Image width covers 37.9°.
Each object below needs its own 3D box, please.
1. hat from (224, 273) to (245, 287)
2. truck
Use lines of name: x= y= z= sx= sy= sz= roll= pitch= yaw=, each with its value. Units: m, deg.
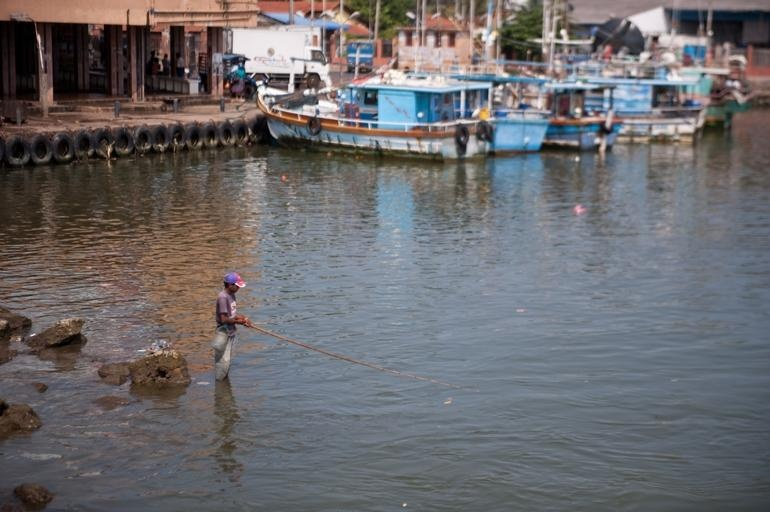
hat: x=-3.453 y=0.551 z=25.904 sx=0.430 sy=0.322 sz=0.383 roll=2 pitch=10 yaw=5
truck: x=-5.886 y=-11.337 z=63.795 sx=8.420 sy=3.134 sz=3.333 roll=-1 pitch=14 yaw=-4
